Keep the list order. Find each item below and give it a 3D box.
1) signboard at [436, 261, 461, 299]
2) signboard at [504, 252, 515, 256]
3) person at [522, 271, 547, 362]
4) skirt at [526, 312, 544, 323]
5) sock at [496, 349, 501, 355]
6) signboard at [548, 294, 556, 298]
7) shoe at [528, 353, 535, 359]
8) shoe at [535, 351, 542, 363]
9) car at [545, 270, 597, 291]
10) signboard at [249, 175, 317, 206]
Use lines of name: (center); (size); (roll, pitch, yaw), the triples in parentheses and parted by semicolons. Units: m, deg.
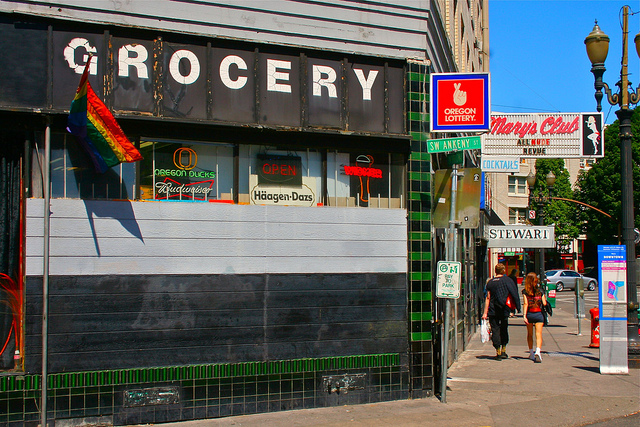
signboard: (2.469, 1.261, 16.685); (0.519, 0.697, 0.250); (-2, -3, 23)
signboard: (11.676, 2.495, 53.267); (0.502, 0.162, 3.152); (-2, -3, 13)
person: (5.191, 2.453, 20.880); (0.522, 2.059, 1.398); (-2, -3, 14)
skirt: (5.120, 2.428, 20.617); (0.405, 0.399, 0.230); (-3, 9, 13)
sock: (4.274, 3.297, 20.763); (0.087, 0.156, 0.159); (-2, -3, -9)
signboard: (8.625, 3.061, 32.339); (0.377, 0.123, 0.121); (1, -4, -38)
shoe: (5.043, 3.396, 20.645); (0.091, 0.094, 0.088); (-8, -14, 38)
shoe: (5.133, 3.333, 20.368); (0.156, 0.252, 0.465); (-2, -3, 13)
car: (14.715, 3.914, 50.961); (3.212, 1.244, 1.854); (-1, -3, -3)
signboard: (-0.692, -0.513, 16.856); (1.366, 0.764, 0.016); (2, -16, -4)
